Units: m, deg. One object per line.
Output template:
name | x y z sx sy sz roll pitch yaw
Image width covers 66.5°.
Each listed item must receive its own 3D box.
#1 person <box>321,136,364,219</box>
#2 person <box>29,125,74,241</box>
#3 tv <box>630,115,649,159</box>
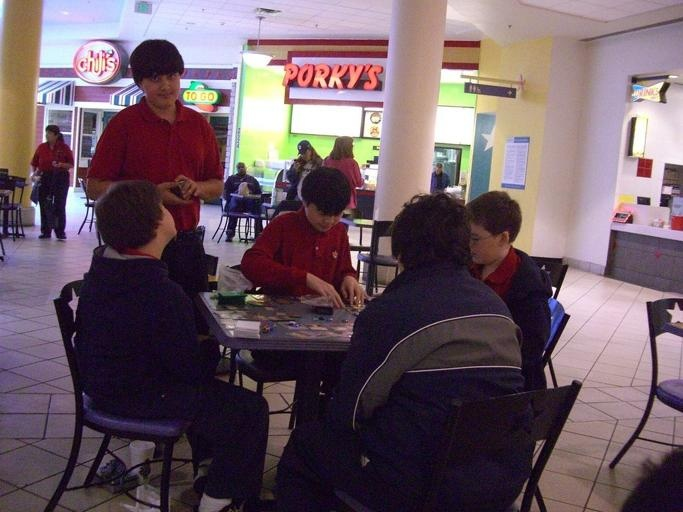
person | 0.035 -1.074 8.029 0.559 1.567 0.536 15 32 26
person | -4.948 -1.266 8.902 0.617 1.910 0.532 12 12 42
tv | 5.444 -2.181 9.539 0.634 0.748 0.156 -4 12 -43
